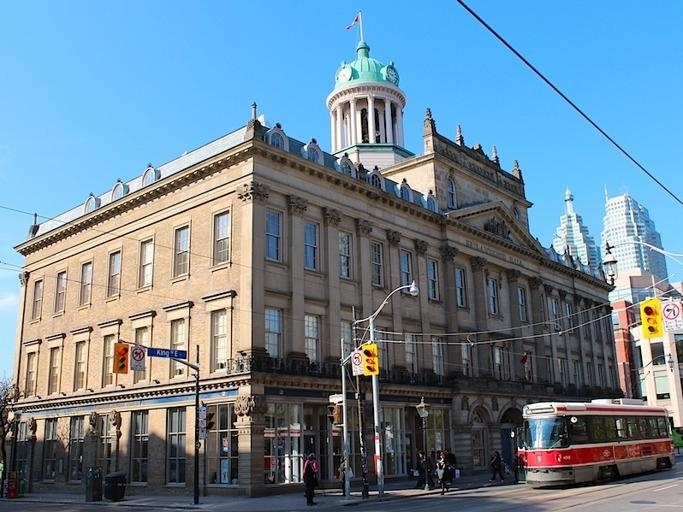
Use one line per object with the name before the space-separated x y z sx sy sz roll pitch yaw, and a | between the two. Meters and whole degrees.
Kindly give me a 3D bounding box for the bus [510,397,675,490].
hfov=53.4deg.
bus | 14.280 10.678 38.274 15.927 4.487 4.161 12 -18 -41
